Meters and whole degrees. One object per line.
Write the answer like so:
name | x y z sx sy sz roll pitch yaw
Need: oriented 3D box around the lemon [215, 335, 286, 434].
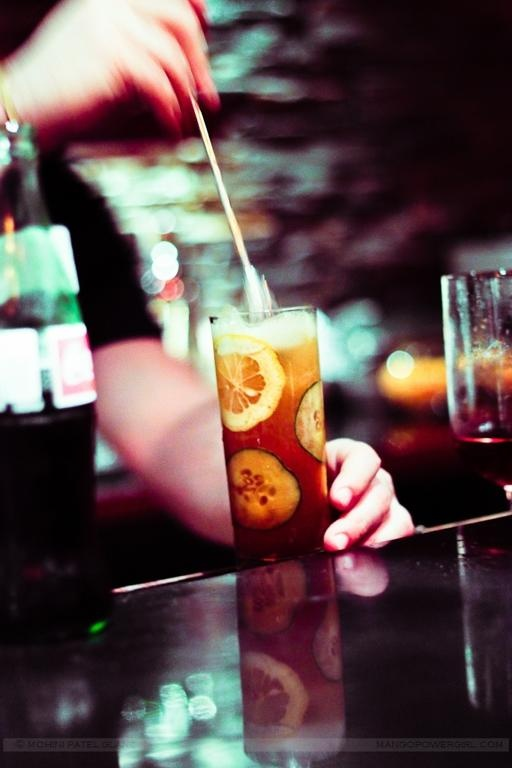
lemon | -0.011 -0.002 0.711 0.076 0.096 0.033 0 8 42
